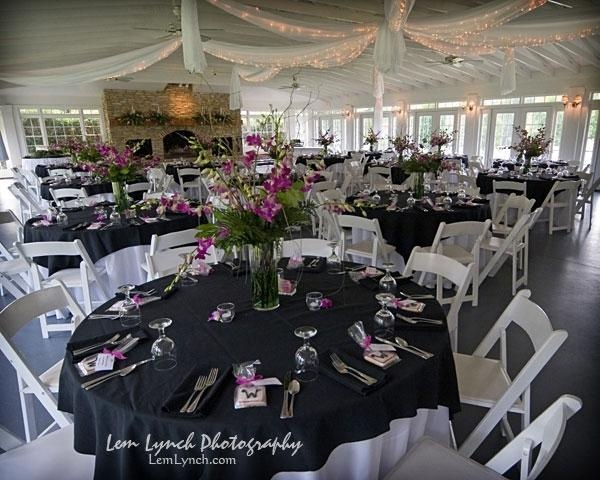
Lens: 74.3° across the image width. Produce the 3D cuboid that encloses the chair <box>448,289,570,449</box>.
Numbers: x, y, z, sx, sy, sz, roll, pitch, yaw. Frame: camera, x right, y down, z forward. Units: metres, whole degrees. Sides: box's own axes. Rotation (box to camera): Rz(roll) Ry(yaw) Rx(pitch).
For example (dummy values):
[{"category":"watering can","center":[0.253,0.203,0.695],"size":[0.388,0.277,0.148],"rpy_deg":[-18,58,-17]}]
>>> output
[{"category":"chair","center":[1.097,0.861,2.343],"size":[0.691,0.948,0.646],"rpy_deg":[3,12,27]}]

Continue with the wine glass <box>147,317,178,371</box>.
[{"category":"wine glass","center":[-0.681,0.539,2.027],"size":[0.115,0.211,0.120],"rpy_deg":[-33,-6,-21]}]

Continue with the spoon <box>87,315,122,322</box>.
[{"category":"spoon","center":[-1.184,0.477,2.405],"size":[0.182,0.035,0.034],"rpy_deg":[4,-16,-11]}]

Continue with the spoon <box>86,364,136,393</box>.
[{"category":"spoon","center":[-0.898,0.656,1.936],"size":[0.070,0.022,0.273],"rpy_deg":[20,22,36]}]

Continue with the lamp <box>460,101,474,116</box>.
[{"category":"lamp","center":[5.559,-4.458,13.121],"size":[0.317,0.487,0.583],"rpy_deg":[-15,13,35]}]

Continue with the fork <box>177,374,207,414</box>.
[{"category":"fork","center":[-0.487,0.697,1.794],"size":[0.033,0.035,0.236],"rpy_deg":[-12,32,21]}]

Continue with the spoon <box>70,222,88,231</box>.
[{"category":"spoon","center":[-2.332,-0.153,4.196],"size":[0.070,0.059,0.227],"rpy_deg":[4,6,-13]}]

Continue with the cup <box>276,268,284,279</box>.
[{"category":"cup","center":[-0.138,0.228,2.702],"size":[0.050,0.058,0.053],"rpy_deg":[0,14,0]}]

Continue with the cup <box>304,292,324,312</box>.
[{"category":"cup","center":[0.085,0.367,2.386],"size":[0.090,0.089,0.101],"rpy_deg":[-11,17,-40]}]

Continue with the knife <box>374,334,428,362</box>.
[{"category":"knife","center":[0.506,0.558,2.087],"size":[0.082,0.050,0.343],"rpy_deg":[-9,12,-39]}]

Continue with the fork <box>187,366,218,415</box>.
[{"category":"fork","center":[-0.437,0.683,1.827],"size":[0.040,0.036,0.247],"rpy_deg":[-9,32,24]}]

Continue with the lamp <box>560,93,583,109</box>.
[{"category":"lamp","center":[7.330,-3.762,10.695],"size":[0.214,0.387,0.457],"rpy_deg":[-7,16,-20]}]

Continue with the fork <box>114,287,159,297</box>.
[{"category":"fork","center":[-1.067,0.342,2.619],"size":[0.214,0.040,0.066],"rpy_deg":[6,31,2]}]

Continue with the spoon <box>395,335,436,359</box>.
[{"category":"spoon","center":[0.582,0.544,2.008],"size":[0.063,0.036,0.235],"rpy_deg":[-19,20,-25]}]

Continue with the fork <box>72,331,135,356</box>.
[{"category":"fork","center":[-1.048,0.562,2.129],"size":[0.247,0.038,0.035],"rpy_deg":[-12,36,-31]}]

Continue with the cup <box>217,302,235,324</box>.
[{"category":"cup","center":[-0.436,0.433,2.360],"size":[0.086,0.080,0.103],"rpy_deg":[-1,11,-2]}]

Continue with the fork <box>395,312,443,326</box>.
[{"category":"fork","center":[0.677,0.452,2.250],"size":[0.182,0.035,0.039],"rpy_deg":[2,21,29]}]

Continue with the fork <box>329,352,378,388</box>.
[{"category":"fork","center":[0.246,0.626,1.884],"size":[0.078,0.044,0.269],"rpy_deg":[-21,37,-35]}]
